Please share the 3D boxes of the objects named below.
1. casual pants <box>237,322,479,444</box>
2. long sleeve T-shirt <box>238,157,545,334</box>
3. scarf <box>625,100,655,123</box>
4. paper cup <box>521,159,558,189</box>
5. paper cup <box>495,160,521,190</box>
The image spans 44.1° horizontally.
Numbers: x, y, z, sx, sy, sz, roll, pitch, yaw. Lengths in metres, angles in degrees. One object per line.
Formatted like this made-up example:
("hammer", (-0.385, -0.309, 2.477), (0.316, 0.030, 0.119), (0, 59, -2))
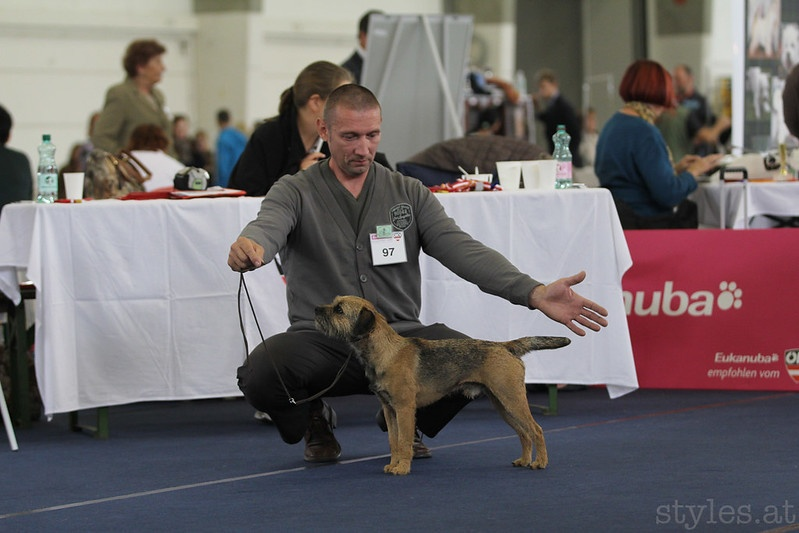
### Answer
("casual pants", (-0.501, 0.627, 5.849), (0.879, 0.450, 0.878), (2, -15, 2))
("long sleeve T-shirt", (-0.159, -0.044, 5.680), (1.764, 0.961, 0.946), (1, -8, -21))
("scarf", (1.846, -1.166, 7.546), (0.194, 0.074, 0.157), (34, 0, -6))
("paper cup", (0.953, -0.616, 6.712), (0.192, 0.162, 0.217), (0, -3, -6))
("paper cup", (0.749, -0.616, 6.790), (0.185, 0.195, 0.190), (-1, -2, 0))
